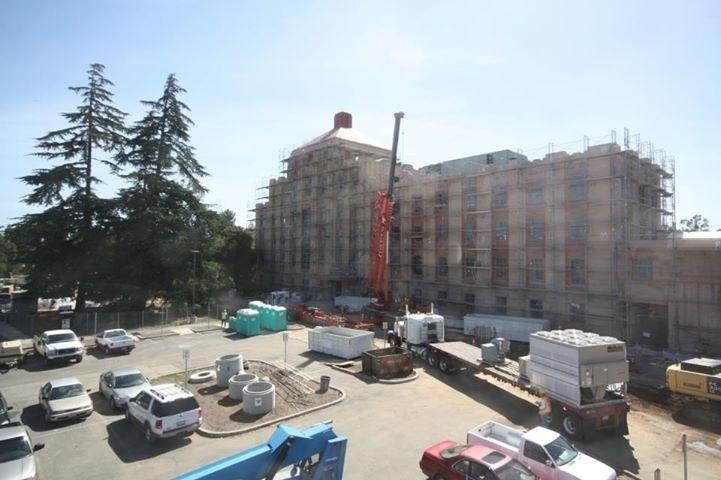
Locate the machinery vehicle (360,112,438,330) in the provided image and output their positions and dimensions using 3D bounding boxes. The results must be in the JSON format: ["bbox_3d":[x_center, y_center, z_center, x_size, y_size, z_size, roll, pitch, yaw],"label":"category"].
[{"bbox_3d":[4.556,-2.205,62.966,8.119,24.326,5.027,4,10,26],"label":"machinery vehicle"}]

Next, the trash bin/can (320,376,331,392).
[{"bbox_3d":[-2.801,10.983,38.890,0.683,1.168,0.970,-2,-3,-5],"label":"trash bin/can"}]

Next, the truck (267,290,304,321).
[{"bbox_3d":[-10.087,8.920,72.555,2.962,3.687,8.085,0,-1,-31],"label":"truck"}]

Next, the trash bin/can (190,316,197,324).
[{"bbox_3d":[-20.308,9.532,60.801,0.932,0.892,0.893,4,13,10],"label":"trash bin/can"}]
